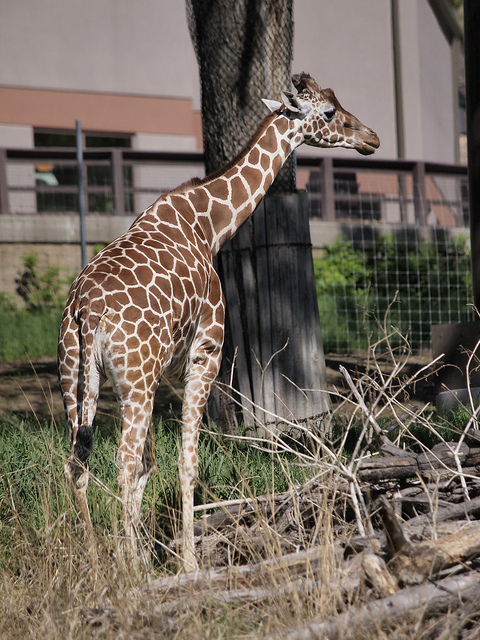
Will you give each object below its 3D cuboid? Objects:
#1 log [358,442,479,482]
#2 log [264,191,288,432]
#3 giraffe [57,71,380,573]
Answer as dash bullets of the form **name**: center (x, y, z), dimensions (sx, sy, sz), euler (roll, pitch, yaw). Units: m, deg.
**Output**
- **log**: center (0.876, 0.701, 5.092), dimensions (0.460, 0.151, 0.164), euler (-9, -44, -9)
- **log**: center (0.236, -0.071, 6.822), dimensions (0.119, 1.652, 0.149), euler (-1, 0, 5)
- **giraffe**: center (-0.268, -0.143, 5.652), dimensions (0.600, 2.643, 2.047), euler (-5, -3, 31)
